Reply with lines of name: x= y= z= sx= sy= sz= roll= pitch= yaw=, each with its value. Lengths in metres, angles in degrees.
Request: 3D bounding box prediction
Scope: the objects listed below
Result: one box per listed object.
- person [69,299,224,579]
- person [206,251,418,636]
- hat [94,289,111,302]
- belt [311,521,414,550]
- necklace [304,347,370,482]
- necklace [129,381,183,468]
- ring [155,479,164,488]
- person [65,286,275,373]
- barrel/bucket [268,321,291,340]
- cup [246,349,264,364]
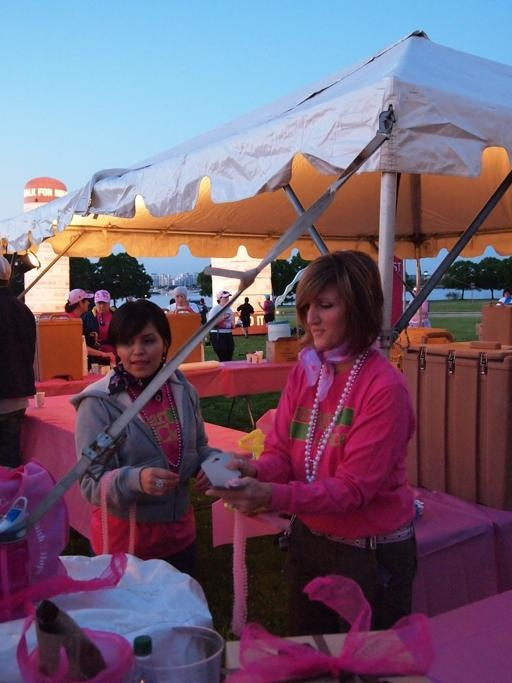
person: x=-0.358 y=0.326 z=1.859 sx=0.435 sy=0.929 sz=0.652 roll=-1 pitch=0 yaw=-5
person: x=0.159 y=0.303 z=1.501 sx=0.421 sy=1.070 sz=0.475 roll=-1 pitch=0 yaw=23
hat: x=-1.597 y=-0.481 z=6.229 sx=0.142 sy=0.112 sz=0.210 roll=0 pitch=-2 yaw=-6
belt: x=0.277 y=0.489 z=1.517 sx=0.128 sy=0.027 sz=0.125 roll=-1 pitch=-1 yaw=-10
necklace: x=0.231 y=0.184 z=1.563 sx=0.032 sy=0.362 sz=0.126 roll=20 pitch=-3 yaw=-34
necklace: x=-0.295 y=0.264 z=1.946 sx=0.076 sy=0.245 sz=0.196 roll=-15 pitch=-4 yaw=0
ring: x=-0.257 y=0.377 z=1.583 sx=0.023 sy=0.019 sz=0.009 roll=2 pitch=-5 yaw=15
person: x=-1.346 y=-0.219 z=6.144 sx=1.211 sy=0.647 sz=1.205 roll=2 pitch=4 yaw=40
barrel/bucket: x=0.252 y=-0.126 z=6.521 sx=0.238 sy=0.196 sz=0.230 roll=0 pitch=4 yaw=0
cup: x=-0.009 y=0.167 z=6.325 sx=0.159 sy=0.101 sz=0.117 roll=-1 pitch=3 yaw=-2
